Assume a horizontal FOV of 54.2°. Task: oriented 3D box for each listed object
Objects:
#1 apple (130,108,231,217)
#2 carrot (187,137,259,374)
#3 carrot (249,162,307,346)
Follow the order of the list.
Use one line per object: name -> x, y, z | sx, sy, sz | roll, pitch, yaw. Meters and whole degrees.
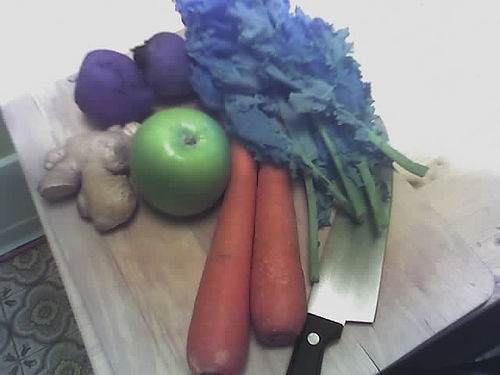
apple -> -0.133, -0.039, 0.975 | 0.161, 0.202, 0.165 | -18, 42, -24
carrot -> -0.047, 0.104, 0.944 | 0.099, 0.104, 0.471 | -19, 63, 39
carrot -> 0.052, 0.127, 0.926 | 0.072, 0.093, 0.353 | -5, 69, 6
